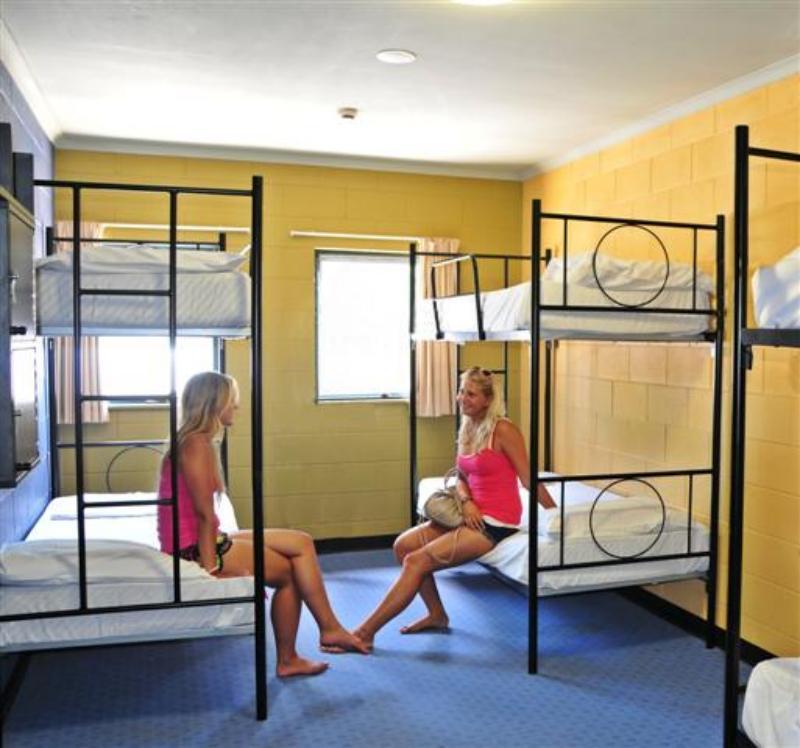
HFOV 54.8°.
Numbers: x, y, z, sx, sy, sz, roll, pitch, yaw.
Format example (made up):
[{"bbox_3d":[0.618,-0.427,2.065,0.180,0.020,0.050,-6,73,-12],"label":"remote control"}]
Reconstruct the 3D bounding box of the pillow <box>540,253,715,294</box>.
[{"bbox_3d":[1.028,-0.452,3.398,0.754,0.168,0.339,1,5,8],"label":"pillow"}]

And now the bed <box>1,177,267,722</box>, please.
[{"bbox_3d":[-1.004,0.237,3.246,1.174,1.969,1.289,1,1,7],"label":"bed"}]

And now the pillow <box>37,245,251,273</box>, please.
[{"bbox_3d":[-0.917,-0.418,2.760,0.706,0.110,0.291,0,5,2],"label":"pillow"}]

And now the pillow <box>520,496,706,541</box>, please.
[{"bbox_3d":[0.959,0.643,3.537,0.706,0.150,0.276,-1,5,-18],"label":"pillow"}]

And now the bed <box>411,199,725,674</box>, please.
[{"bbox_3d":[0.878,0.359,3.869,0.945,2.058,2.397,1,0,-10],"label":"bed"}]
